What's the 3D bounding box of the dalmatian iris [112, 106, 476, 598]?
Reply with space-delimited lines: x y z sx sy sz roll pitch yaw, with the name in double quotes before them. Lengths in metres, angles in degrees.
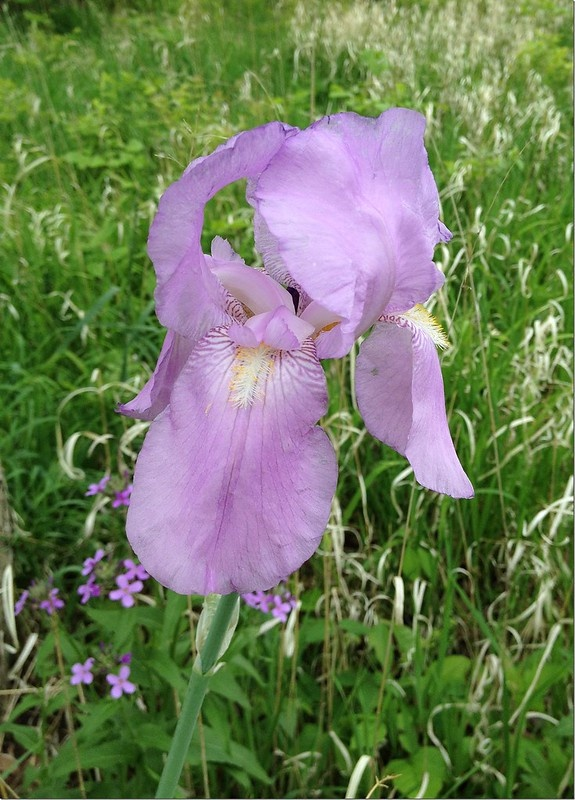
"dalmatian iris" 0.013 -0.093 0.764 0.419 0.457 0.415 8 21 13
